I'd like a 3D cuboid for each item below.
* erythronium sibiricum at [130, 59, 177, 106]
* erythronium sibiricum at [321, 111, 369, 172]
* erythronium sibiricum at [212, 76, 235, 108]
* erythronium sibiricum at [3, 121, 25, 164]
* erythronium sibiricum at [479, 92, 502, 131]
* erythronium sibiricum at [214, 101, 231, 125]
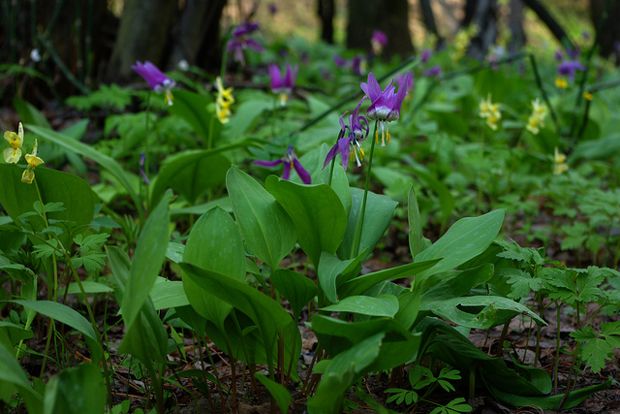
[{"bbox_3d":[-1.016,-0.821,3.850,0.251,0.233,0.327,8,11,-15],"label":"erythronium sibiricum"},{"bbox_3d":[0.225,-0.388,3.461,0.204,0.347,0.300,0,2,13],"label":"erythronium sibiricum"},{"bbox_3d":[-0.612,-0.827,4.221,0.142,0.192,0.440,8,12,-11],"label":"erythronium sibiricum"},{"bbox_3d":[-1.785,-0.374,3.539,0.096,0.297,0.418,4,13,-26],"label":"erythronium sibiricum"},{"bbox_3d":[1.163,-0.617,3.805,0.145,0.236,0.085,-29,-2,33],"label":"erythronium sibiricum"},{"bbox_3d":[-0.622,-0.666,4.107,0.116,0.186,0.041,-12,19,-40],"label":"erythronium sibiricum"}]
